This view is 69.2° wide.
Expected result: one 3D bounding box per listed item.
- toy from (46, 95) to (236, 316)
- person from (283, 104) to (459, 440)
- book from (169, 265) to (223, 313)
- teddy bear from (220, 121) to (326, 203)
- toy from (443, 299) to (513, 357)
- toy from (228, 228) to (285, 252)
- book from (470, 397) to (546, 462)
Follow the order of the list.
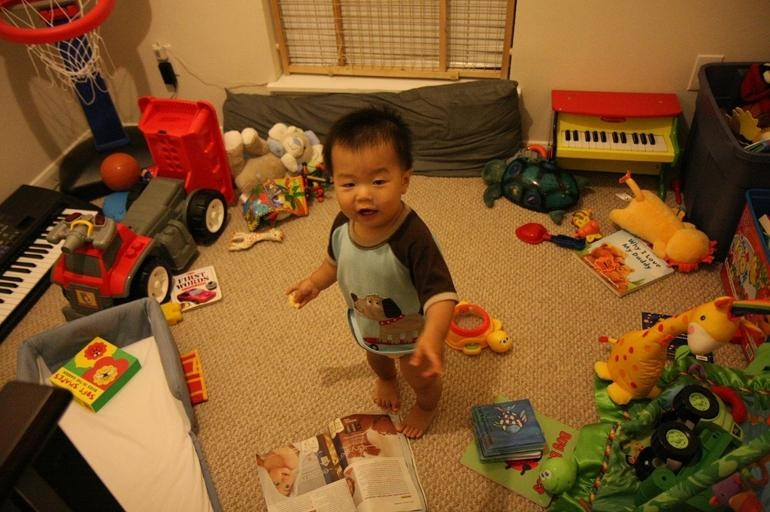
[{"bbox_3d":[-1.037,-0.238,2.772,0.611,0.770,1.163,11,49,6],"label":"toy"},{"bbox_3d":[0.040,0.130,1.924,0.668,1.171,0.507,19,36,38],"label":"person"},{"bbox_3d":[-0.898,0.154,2.626,0.231,0.062,0.207,-16,40,-13],"label":"book"},{"bbox_3d":[-0.588,-0.560,2.986,0.482,0.224,0.363,-27,72,-16],"label":"teddy bear"},{"bbox_3d":[0.395,0.329,2.347,0.210,0.083,0.271,-37,47,-27],"label":"toy"},{"bbox_3d":[-0.657,-0.084,2.799,0.240,0.058,0.123,-13,43,-4],"label":"toy"},{"bbox_3d":[0.454,0.612,2.026,0.202,0.050,0.212,-5,49,3],"label":"book"}]
